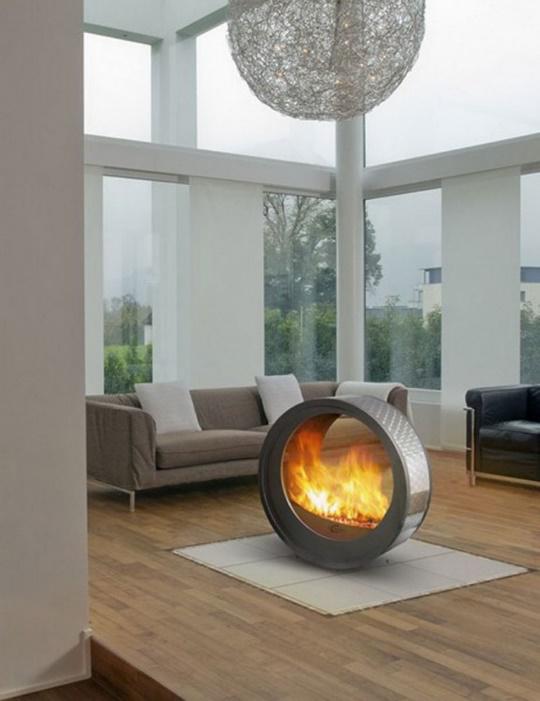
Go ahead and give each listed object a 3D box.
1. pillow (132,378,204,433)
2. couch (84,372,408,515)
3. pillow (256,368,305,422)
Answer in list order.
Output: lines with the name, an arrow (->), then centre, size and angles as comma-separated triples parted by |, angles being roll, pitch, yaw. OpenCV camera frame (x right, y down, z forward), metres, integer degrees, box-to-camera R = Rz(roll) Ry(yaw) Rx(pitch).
pillow -> -0.817, 0.460, 4.772 | 0.138, 0.428, 0.459 | -32, -15, 38
couch -> -0.157, 0.743, 5.059 | 2.840, 0.871, 1.050 | -4, 6, -33
pillow -> 0.073, 0.409, 5.451 | 0.127, 0.424, 0.418 | -29, -10, 39
